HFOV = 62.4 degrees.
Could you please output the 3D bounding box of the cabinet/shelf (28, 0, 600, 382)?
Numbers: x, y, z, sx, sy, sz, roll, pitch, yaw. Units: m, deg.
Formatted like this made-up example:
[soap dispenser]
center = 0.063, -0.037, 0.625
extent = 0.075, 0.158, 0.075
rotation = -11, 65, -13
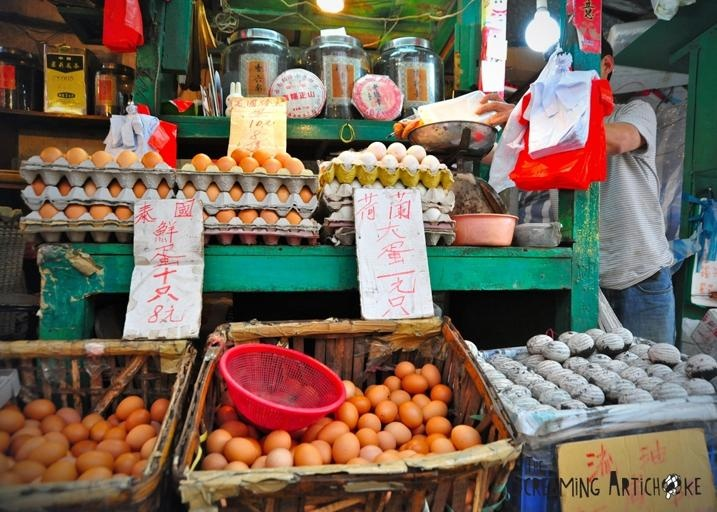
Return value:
[cabinet/shelf]
center = -0.114, -0.300, 2.800
extent = 2.311, 2.257, 0.713
rotation = 1, -6, -11
